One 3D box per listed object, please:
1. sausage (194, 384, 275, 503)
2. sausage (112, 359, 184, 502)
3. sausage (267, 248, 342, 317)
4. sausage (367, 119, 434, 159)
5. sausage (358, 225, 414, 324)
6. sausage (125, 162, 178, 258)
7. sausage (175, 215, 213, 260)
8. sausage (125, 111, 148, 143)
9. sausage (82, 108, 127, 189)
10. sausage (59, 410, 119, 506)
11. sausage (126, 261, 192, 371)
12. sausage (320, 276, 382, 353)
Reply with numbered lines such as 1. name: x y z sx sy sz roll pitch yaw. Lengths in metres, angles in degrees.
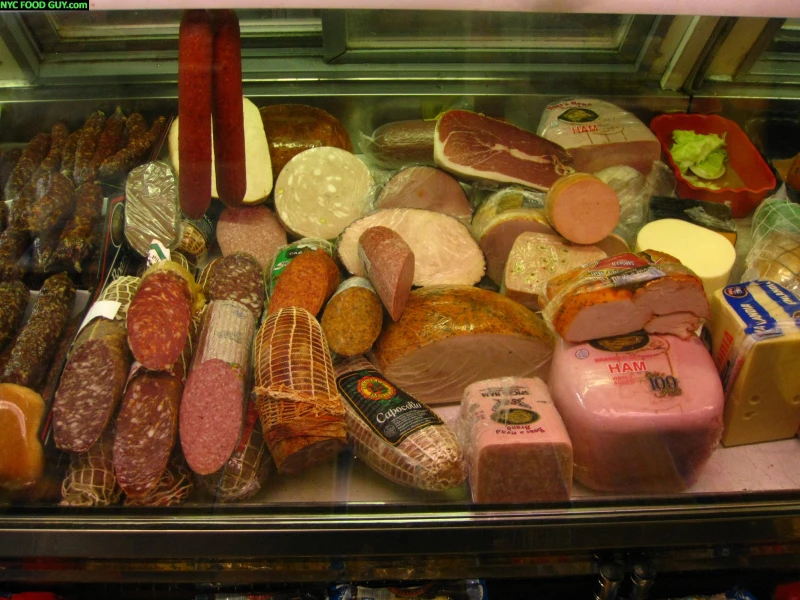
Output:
1. sausage: -0.397 0.364 1.532 0.167 0.087 0.225 5 82 -8
2. sausage: -0.627 0.330 1.548 0.163 0.094 0.297 5 82 -15
3. sausage: -0.259 -0.052 1.790 0.132 0.067 0.234 37 52 -1
4. sausage: 0.013 -0.565 2.192 0.242 0.096 0.086 -1 34 1
5. sausage: -0.029 -0.074 1.743 0.095 0.137 0.266 4 53 -56
6. sausage: -0.732 -0.265 1.842 0.169 0.064 0.256 -3 83 -5
7. sausage: -0.615 -0.190 1.856 0.087 0.082 0.108 28 38 -18
8. sausage: -0.813 -0.536 1.929 0.066 0.026 0.079 9 85 -32
9. sausage: -0.885 -0.469 1.920 0.079 0.065 0.252 11 78 -2
10. sausage: -0.771 0.401 1.568 0.136 0.077 0.198 -2 79 -2
11. sausage: -0.614 0.046 1.606 0.152 0.082 0.269 8 63 -26
12. sausage: -0.137 0.050 1.770 0.167 0.110 0.189 9 65 -19
